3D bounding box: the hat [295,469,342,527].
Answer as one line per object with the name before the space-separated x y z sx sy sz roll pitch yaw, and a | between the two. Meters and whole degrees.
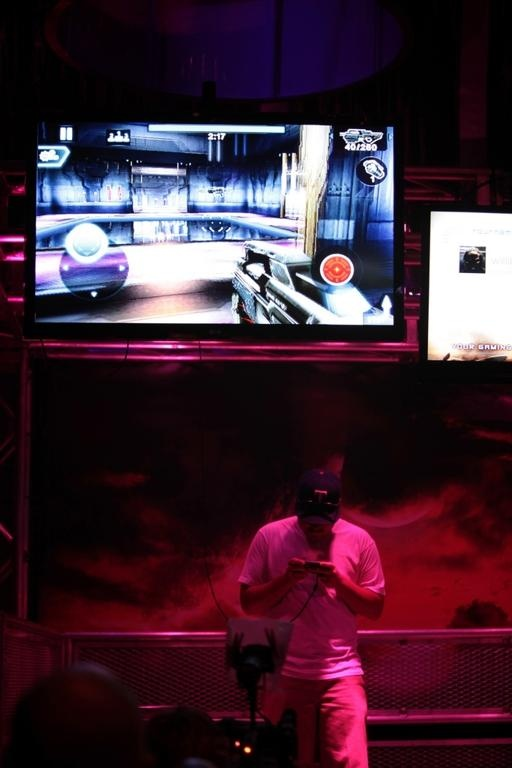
hat | 0.252 0.435 2.887 0.194 0.155 0.294 1 24 2
